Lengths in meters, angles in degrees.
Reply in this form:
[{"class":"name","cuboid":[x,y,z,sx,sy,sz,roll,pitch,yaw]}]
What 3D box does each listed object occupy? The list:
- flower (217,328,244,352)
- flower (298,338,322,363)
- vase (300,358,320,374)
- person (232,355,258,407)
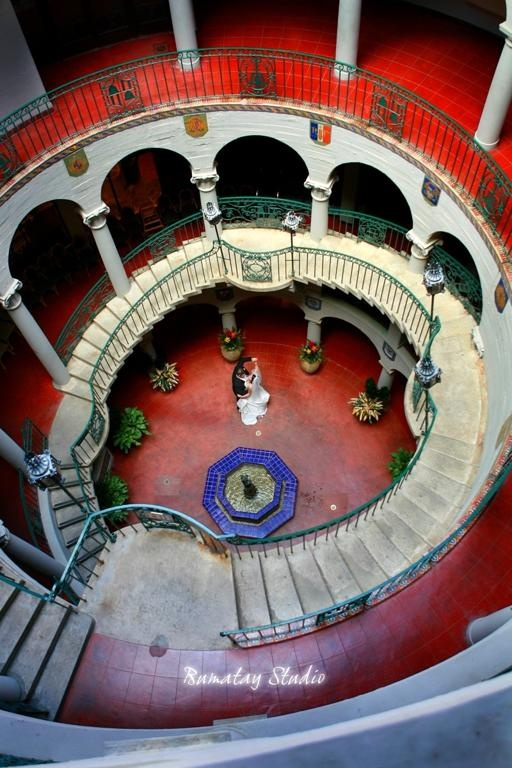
[{"class":"flower","cuboid":[-0.792,-1.523,16.129,0.775,0.525,0.783,20,73,9]},{"class":"flower","cuboid":[1.855,-1.138,15.601,0.719,0.407,0.731,16,62,18]},{"class":"vase","cuboid":[1.816,-0.629,15.753,0.511,0.384,0.516,29,73,25]},{"class":"person","cuboid":[-0.355,-0.031,14.619,0.520,1.622,0.691,-20,87,-5]}]
